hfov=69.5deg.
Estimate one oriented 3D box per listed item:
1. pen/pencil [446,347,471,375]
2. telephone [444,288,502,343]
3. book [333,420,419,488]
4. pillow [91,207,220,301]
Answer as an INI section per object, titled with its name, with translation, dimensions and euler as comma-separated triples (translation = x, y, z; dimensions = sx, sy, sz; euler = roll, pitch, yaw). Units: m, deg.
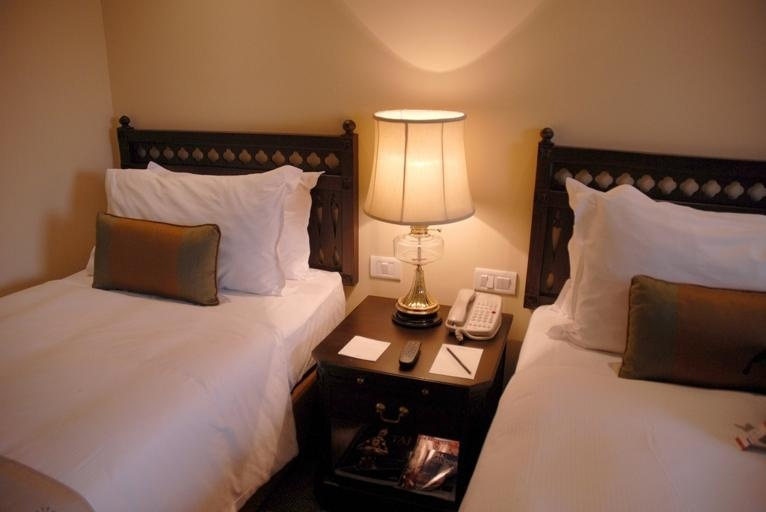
[pen/pencil]
translation = 0.310, 0.436, 2.276
dimensions = 0.016, 0.017, 0.143
euler = -17, 32, -21
[telephone]
translation = 0.417, 0.262, 2.507
dimensions = 0.229, 0.120, 0.305
euler = 1, 23, 18
[book]
translation = -0.040, 0.884, 2.425
dimensions = 0.263, 0.070, 0.270
euler = 8, 42, 18
[pillow]
translation = -1.025, 0.019, 2.506
dimensions = 0.602, 0.367, 0.152
euler = 7, 10, 8
